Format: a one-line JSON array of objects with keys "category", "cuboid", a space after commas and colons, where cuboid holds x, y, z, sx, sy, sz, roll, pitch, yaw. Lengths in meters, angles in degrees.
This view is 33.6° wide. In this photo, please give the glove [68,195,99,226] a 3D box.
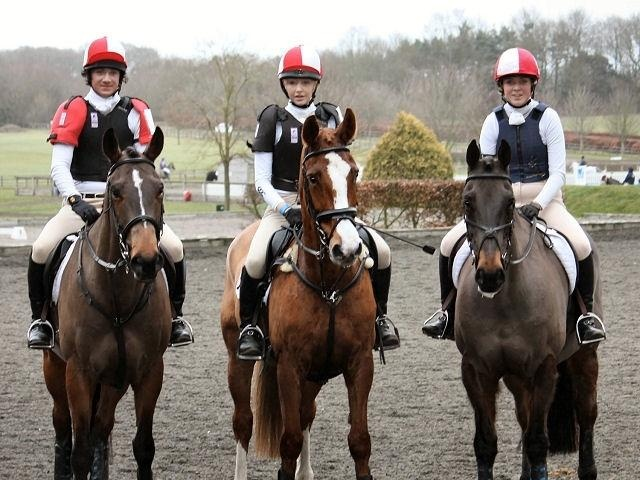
[{"category": "glove", "cuboid": [-2.840, -0.390, 12.717, 0.234, 0.157, 0.422, -30, 65, -27]}]

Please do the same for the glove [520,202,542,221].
[{"category": "glove", "cuboid": [2.533, -0.344, 12.812, 0.126, 0.183, 0.232, -38, 6, -11]}]

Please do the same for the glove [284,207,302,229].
[{"category": "glove", "cuboid": [-0.310, -0.255, 12.577, 0.160, 0.255, 0.083, -8, -14, 22]}]

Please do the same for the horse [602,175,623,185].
[{"category": "horse", "cuboid": [11.472, -2.350, 41.890, 0.545, 0.173, 0.612, 13, 8, 2]}]
